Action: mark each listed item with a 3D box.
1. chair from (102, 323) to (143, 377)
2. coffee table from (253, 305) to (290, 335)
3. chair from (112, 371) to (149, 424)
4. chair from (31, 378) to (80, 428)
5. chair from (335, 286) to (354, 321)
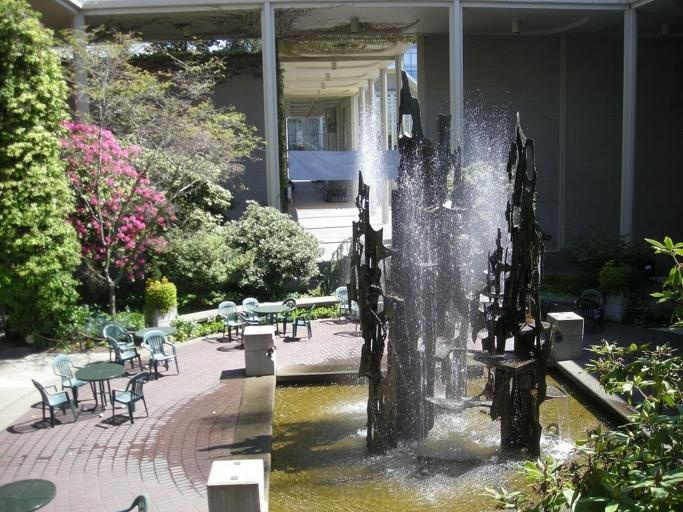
[{"bbox_3d":[-4.685,2.032,14.233,0.704,1.026,0.619,10,18,27],"label":"chair"},{"bbox_3d":[-1.694,1.505,16.338,0.661,0.595,0.705,0,7,-2],"label":"coffee table"},{"bbox_3d":[-3.895,2.497,12.246,0.629,0.907,1.131,-5,5,-22],"label":"chair"},{"bbox_3d":[-5.217,2.560,12.222,0.682,0.862,0.834,-5,6,-25],"label":"chair"},{"bbox_3d":[0.032,1.256,18.051,0.375,0.854,1.297,-3,5,-1],"label":"chair"}]
